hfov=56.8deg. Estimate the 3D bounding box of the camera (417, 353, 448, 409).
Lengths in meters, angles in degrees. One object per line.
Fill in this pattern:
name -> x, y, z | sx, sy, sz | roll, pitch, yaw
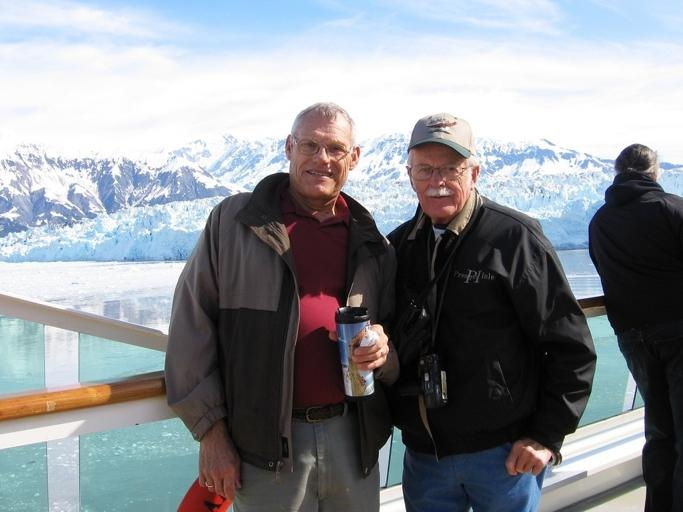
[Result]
camera -> 0.400, 0.553, 2.754 | 0.120, 0.250, 0.088 | -3, 8, 5
